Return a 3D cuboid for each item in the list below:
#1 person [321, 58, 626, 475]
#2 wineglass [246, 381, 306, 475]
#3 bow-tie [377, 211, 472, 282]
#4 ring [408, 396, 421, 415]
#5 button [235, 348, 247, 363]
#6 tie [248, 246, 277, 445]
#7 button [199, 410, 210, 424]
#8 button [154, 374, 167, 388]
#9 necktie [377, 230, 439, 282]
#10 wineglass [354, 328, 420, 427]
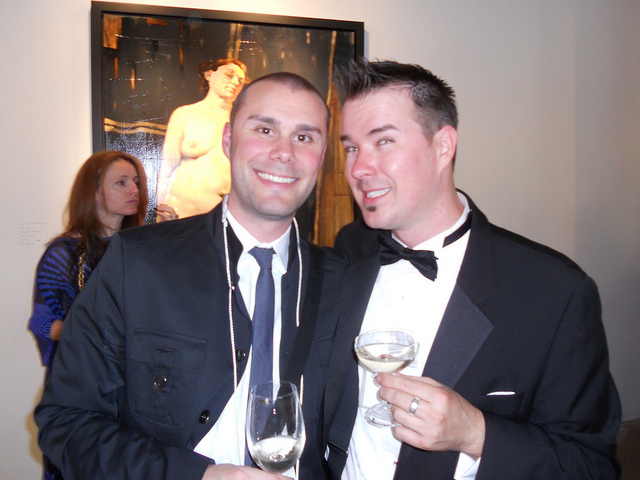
[{"bbox_3d":[0.658,0.208,2.710,1.564,1.988,0.959,12,18,27],"label":"person"},{"bbox_3d":[-0.191,0.789,2.410,0.235,0.316,0.187,2,16,-7],"label":"wineglass"},{"bbox_3d":[0.485,-0.028,2.969,0.479,0.344,0.338,-1,14,-13],"label":"bow-tie"},{"bbox_3d":[0.410,0.723,2.479,0.040,0.077,0.032,10,17,21],"label":"ring"},{"bbox_3d":[-0.382,0.550,2.721,0.048,0.057,0.037,-6,19,-30],"label":"button"},{"bbox_3d":[-0.278,0.494,2.725,0.117,1.034,0.172,4,18,1],"label":"tie"},{"bbox_3d":[-0.542,0.828,2.658,0.039,0.055,0.015,22,-3,12],"label":"button"},{"bbox_3d":[-0.748,0.661,2.662,0.055,0.051,0.029,1,16,-12],"label":"button"},{"bbox_3d":[0.445,0.078,2.850,0.352,0.190,0.126,20,25,33],"label":"necktie"},{"bbox_3d":[0.310,0.599,2.701,0.263,0.501,0.284,4,2,44],"label":"wineglass"}]
